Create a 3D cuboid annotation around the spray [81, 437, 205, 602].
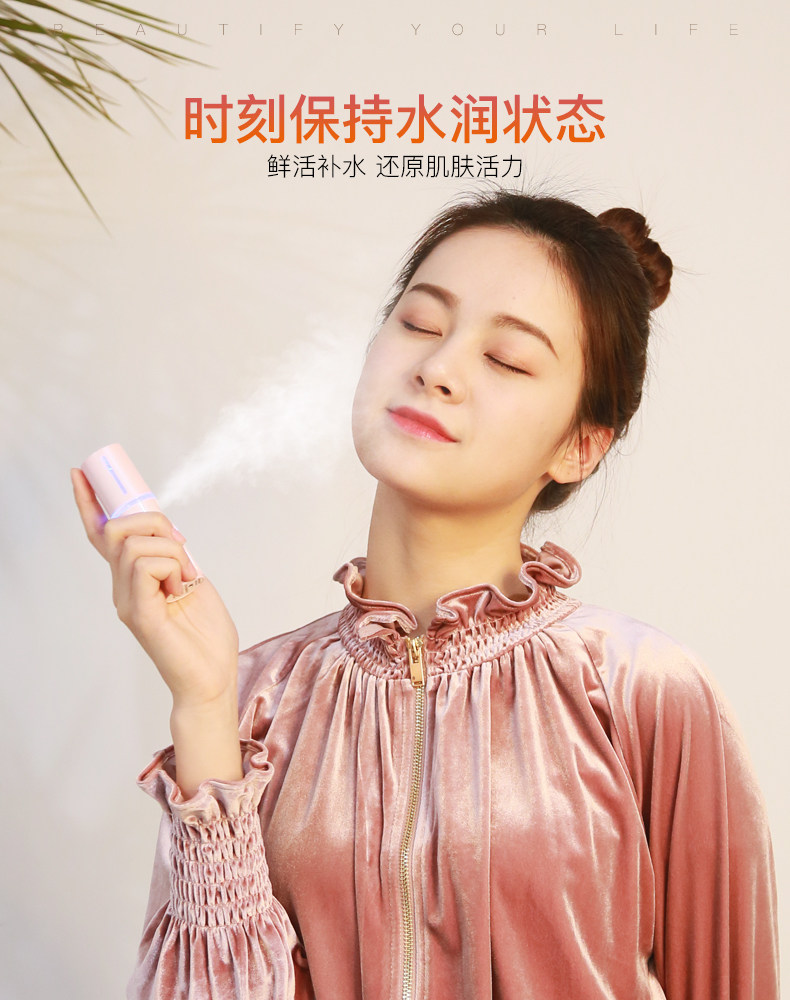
[{"bbox_3d":[-0.340,0.026,1.456,0.062,0.196,0.198,-33,13,-12],"label":"spray"}]
